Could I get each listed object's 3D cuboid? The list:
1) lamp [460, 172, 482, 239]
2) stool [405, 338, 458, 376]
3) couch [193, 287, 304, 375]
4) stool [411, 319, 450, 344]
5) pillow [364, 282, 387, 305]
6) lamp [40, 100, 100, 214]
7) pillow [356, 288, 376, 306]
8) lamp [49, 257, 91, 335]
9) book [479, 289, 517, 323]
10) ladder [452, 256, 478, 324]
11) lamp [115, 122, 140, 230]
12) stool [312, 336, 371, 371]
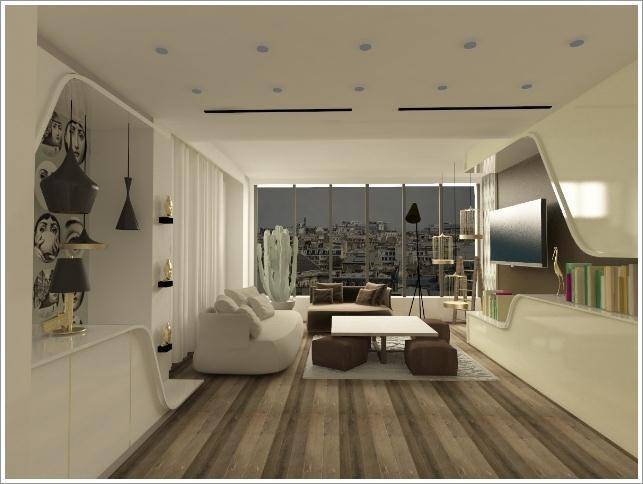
[{"bbox_3d":[2.653,-0.525,7.596,0.369,1.055,2.092,2,7,20],"label":"lamp"},{"bbox_3d":[1.229,1.313,4.882,0.364,0.273,0.408,0,-2,1],"label":"stool"},{"bbox_3d":[-0.870,1.042,5.382,1.114,0.866,1.276,1,7,4],"label":"couch"},{"bbox_3d":[1.529,1.159,5.657,0.352,0.357,0.382,0,-6,4],"label":"stool"},{"bbox_3d":[0.959,0.915,7.585,0.284,0.238,0.111,-9,-4,43],"label":"pillow"},{"bbox_3d":[-1.758,-0.480,2.975,0.421,0.897,0.431,1,1,-16],"label":"lamp"},{"bbox_3d":[0.775,0.952,7.657,0.403,0.399,0.209,-1,-8,35],"label":"pillow"},{"bbox_3d":[-1.891,0.375,3.217,0.253,0.544,0.355,-4,8,-34],"label":"lamp"},{"bbox_3d":[2.323,0.705,5.671,0.277,0.445,0.582,1,1,1],"label":"book"},{"bbox_3d":[2.613,0.842,7.837,0.514,1.284,1.740,2,7,20],"label":"ladder"},{"bbox_3d":[-1.937,-0.644,4.225,0.208,1.054,0.325,-3,7,-23],"label":"lamp"},{"bbox_3d":[0.141,1.349,5.322,0.475,0.337,0.663,5,-5,10],"label":"stool"}]
